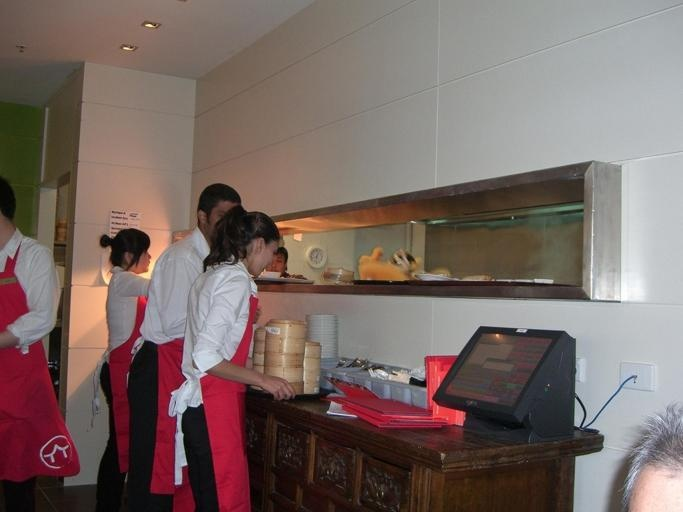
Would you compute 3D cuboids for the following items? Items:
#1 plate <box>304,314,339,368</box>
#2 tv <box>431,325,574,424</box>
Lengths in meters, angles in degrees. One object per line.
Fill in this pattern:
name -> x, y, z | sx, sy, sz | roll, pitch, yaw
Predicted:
plate -> -0.101, 0.478, 2.959 | 0.155, 0.280, 0.186 | 1, -1, -29
tv -> 0.607, 0.451, 1.930 | 0.335, 0.372, 0.457 | 12, -11, -18
